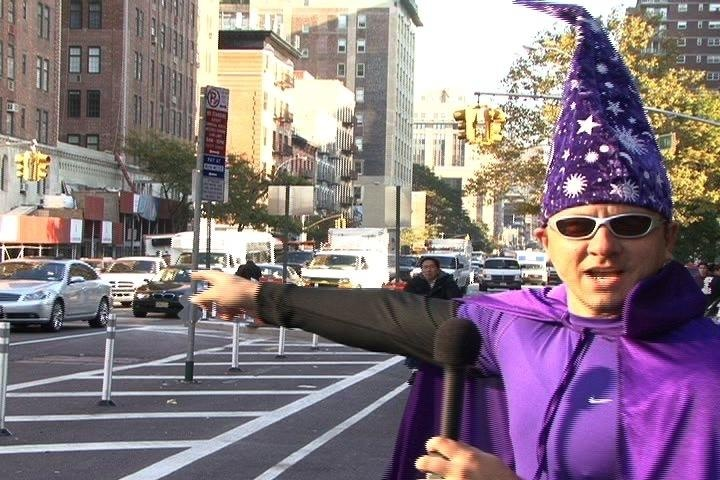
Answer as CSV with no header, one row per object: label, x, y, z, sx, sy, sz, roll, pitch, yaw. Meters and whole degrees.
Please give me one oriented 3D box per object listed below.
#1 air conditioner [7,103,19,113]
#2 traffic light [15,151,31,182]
air conditioner,-14.331,-5.518,46.647,0.344,0.391,0.595,-1,-2,15
traffic light,-12.464,-2.902,41.903,0.648,0.849,0.911,14,-8,-11
